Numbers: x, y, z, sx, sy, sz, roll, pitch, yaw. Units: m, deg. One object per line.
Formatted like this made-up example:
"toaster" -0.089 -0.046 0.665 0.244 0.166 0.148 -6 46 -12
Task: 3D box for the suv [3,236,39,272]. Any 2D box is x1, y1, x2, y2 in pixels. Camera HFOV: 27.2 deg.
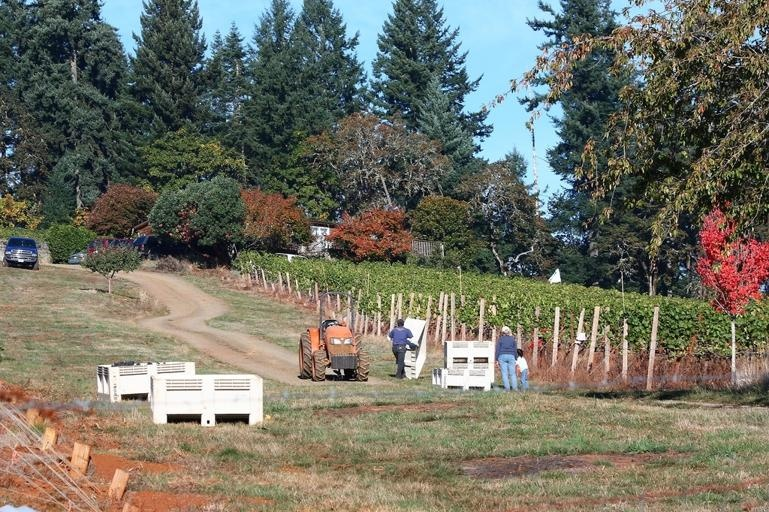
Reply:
"suv" -25.805 -0.235 113.456 1.496 1.627 3.156 -1 -6 -20

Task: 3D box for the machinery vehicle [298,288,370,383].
"machinery vehicle" -2.981 4.680 90.621 3.425 5.143 6.268 0 1 -11
